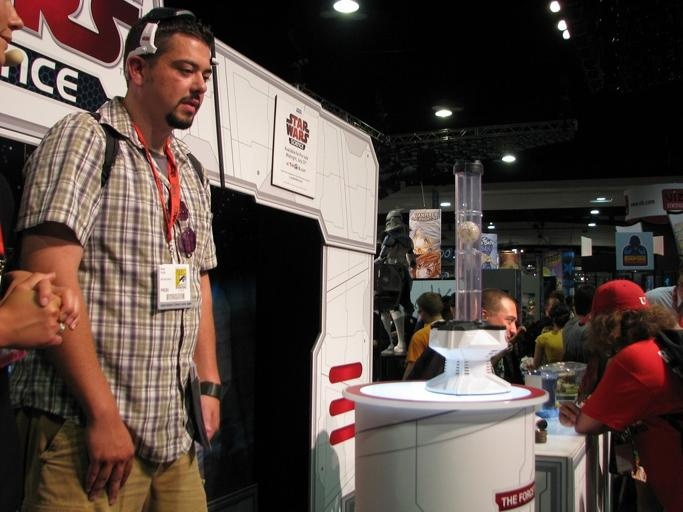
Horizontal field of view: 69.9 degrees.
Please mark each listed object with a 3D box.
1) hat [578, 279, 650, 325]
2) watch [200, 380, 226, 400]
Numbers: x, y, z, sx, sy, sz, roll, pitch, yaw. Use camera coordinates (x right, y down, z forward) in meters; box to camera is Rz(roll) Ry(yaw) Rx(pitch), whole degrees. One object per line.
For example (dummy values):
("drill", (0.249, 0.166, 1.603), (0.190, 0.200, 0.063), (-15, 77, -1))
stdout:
("hat", (1.570, 0.255, 2.779), (0.186, 0.163, 0.285), (-3, -11, 0))
("watch", (-0.460, 0.467, 1.749), (0.074, 0.048, 0.074), (27, -30, -29))
